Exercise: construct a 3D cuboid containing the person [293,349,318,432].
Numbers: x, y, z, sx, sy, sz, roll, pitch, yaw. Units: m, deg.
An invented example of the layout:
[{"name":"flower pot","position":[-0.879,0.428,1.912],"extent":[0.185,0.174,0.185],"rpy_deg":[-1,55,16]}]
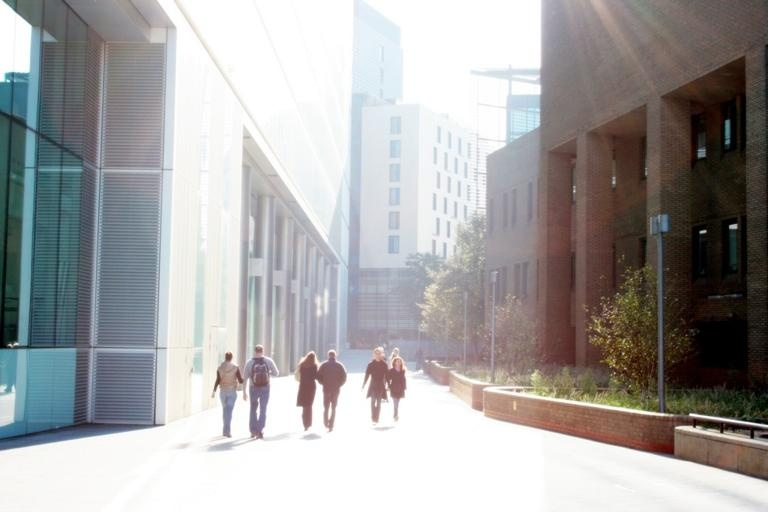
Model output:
[{"name":"person","position":[-2.215,3.847,19.601],"extent":[0.595,2.242,1.476],"rpy_deg":[0,-8,-7]}]
